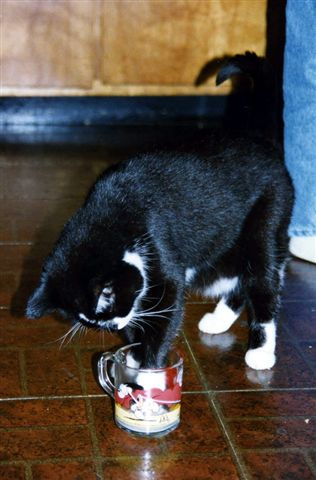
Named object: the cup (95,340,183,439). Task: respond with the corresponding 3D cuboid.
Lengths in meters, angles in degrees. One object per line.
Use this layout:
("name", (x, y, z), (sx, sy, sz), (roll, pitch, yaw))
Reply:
("cup", (-0.037, 0.315, 1.075), (0.194, 0.150, 0.139), (0, 13, -15))
